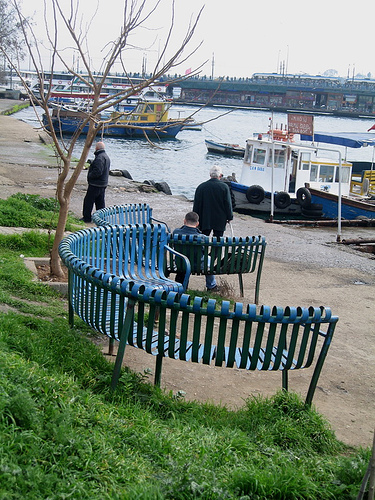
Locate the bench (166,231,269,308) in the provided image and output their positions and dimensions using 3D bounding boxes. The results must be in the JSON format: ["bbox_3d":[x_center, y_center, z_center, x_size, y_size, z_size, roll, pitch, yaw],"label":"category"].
[{"bbox_3d":[0.245,0.198,7.221,1.206,0.621,2.552,5,-1,2],"label":"bench"}]

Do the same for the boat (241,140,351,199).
[{"bbox_3d":[4.399,-3.427,24.125,4.160,2.309,2.660,3,22,-8],"label":"boat"}]

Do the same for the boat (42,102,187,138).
[{"bbox_3d":[-6.584,-12.817,56.132,15.309,3.708,3.685,-4,16,-25],"label":"boat"}]

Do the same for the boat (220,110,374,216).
[{"bbox_3d":[5.077,-3.467,24.995,5.983,4.261,14.112,7,7,10],"label":"boat"}]

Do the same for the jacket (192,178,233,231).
[{"bbox_3d":[0.404,-0.687,9.028,0.608,0.859,0.380,6,7,0],"label":"jacket"}]

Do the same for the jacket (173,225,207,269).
[{"bbox_3d":[0.017,-0.095,7.209,0.470,0.491,0.654,5,-35,1],"label":"jacket"}]

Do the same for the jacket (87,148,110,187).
[{"bbox_3d":[-1.840,-1.691,11.864,0.352,0.779,0.603,8,7,10],"label":"jacket"}]

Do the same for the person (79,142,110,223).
[{"bbox_3d":[-1.913,-1.392,12.082,0.527,1.705,0.974,5,7,-10],"label":"person"}]
